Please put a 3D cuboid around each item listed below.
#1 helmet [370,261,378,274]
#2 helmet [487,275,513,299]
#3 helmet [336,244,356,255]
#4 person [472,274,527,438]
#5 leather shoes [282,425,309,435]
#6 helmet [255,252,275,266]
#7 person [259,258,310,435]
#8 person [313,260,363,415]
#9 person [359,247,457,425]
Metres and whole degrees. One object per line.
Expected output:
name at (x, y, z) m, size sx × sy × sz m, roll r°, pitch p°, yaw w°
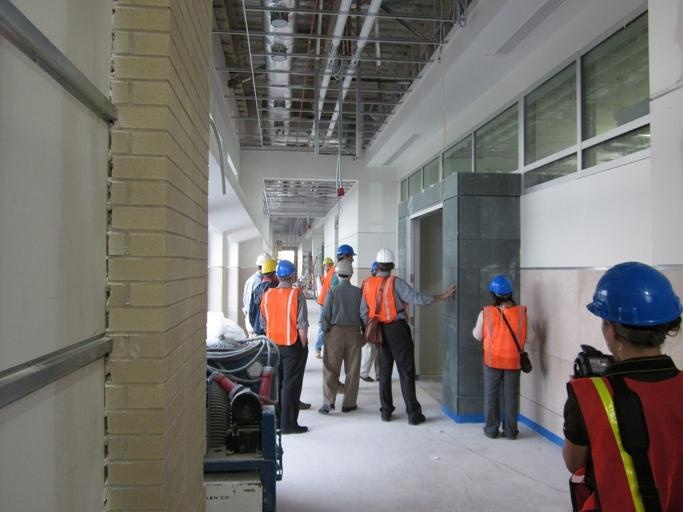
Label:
helmet at (0.447, 0.156, 7.556) m, size 0.121 × 0.179 × 0.181 m, roll -1°, pitch -43°, yaw -1°
helmet at (1.578, 0.304, 5.393) m, size 0.174 × 0.143 × 0.232 m, roll -5°, pitch 6°, yaw -6°
helmet at (0.065, -0.080, 7.541) m, size 0.226 × 0.146 × 0.162 m, roll -3°, pitch 5°, yaw -29°
person at (1.561, 0.997, 5.290) m, size 0.531 × 1.590 × 0.296 m, roll 0°, pitch 1°, yaw 17°
leather shoes at (-0.478, 1.748, 5.466) m, size 0.263 × 0.126 × 0.095 m, roll -1°, pitch -1°, yaw -11°
helmet at (-1.374, 0.043, 9.351) m, size 0.309 × 0.241 × 0.427 m, roll 0°, pitch -6°, yaw -2°
person at (-0.596, 0.923, 5.540) m, size 0.468 × 1.748 × 0.746 m, roll 0°, pitch 1°, yaw -9°
person at (-0.010, 0.922, 6.245) m, size 0.515 × 1.759 × 0.400 m, roll 0°, pitch 1°, yaw -4°
person at (0.619, 0.859, 5.991) m, size 0.926 × 1.866 × 0.534 m, roll 0°, pitch 1°, yaw 20°
